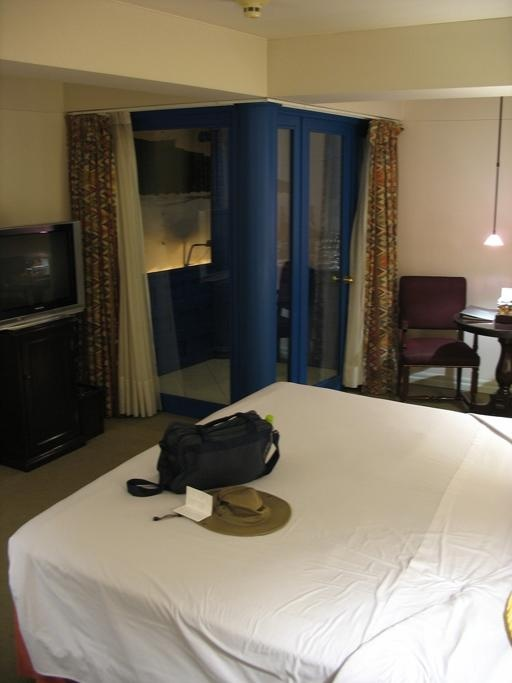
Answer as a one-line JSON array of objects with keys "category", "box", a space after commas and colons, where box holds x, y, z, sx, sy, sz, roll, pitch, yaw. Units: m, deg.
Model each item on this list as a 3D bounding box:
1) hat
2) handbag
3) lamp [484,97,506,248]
[{"category": "hat", "box": [-0.061, 0.556, 1.768, 0.283, 0.064, 0.177, 0, 11, -10]}, {"category": "handbag", "box": [-0.190, 0.406, 2.022, 0.468, 0.190, 0.252, -9, 20, -25]}, {"category": "lamp", "box": [2.106, -1.437, 4.683, 0.149, 1.248, 0.110, 6, 13, 26]}]
